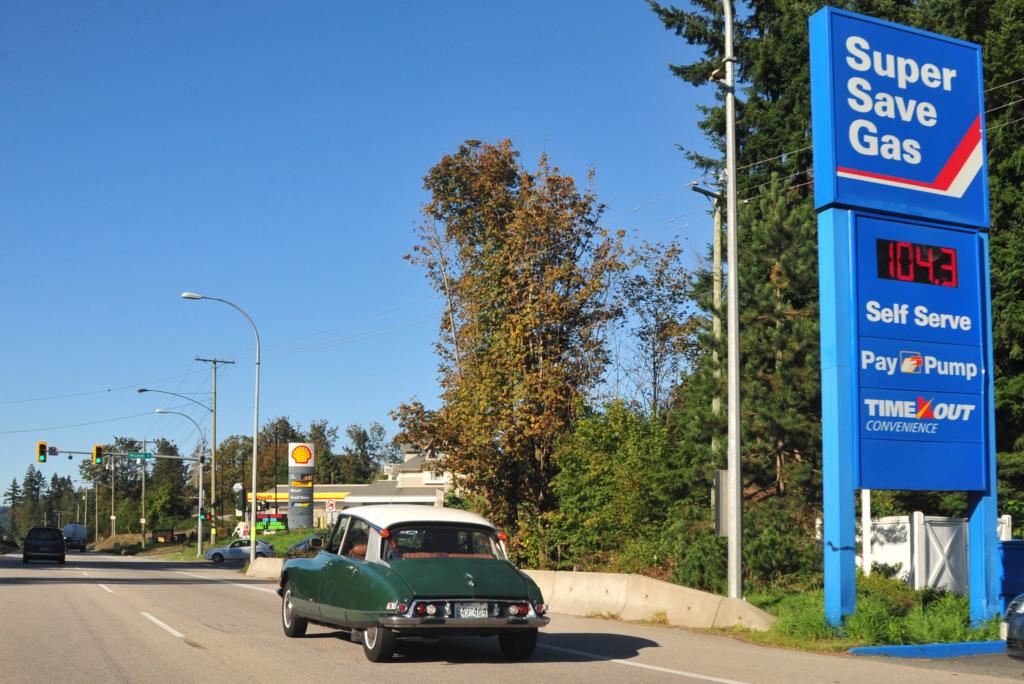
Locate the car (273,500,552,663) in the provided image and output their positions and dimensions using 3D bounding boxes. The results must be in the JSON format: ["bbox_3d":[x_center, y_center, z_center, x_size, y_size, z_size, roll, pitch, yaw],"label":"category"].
[{"bbox_3d":[-2.166,4.884,24.360,5.497,3.168,2.116,-9,-17,26],"label":"car"}]

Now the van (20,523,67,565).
[{"bbox_3d":[-22.585,9.826,57.705,1.389,1.326,2.593,2,-3,-21],"label":"van"}]
